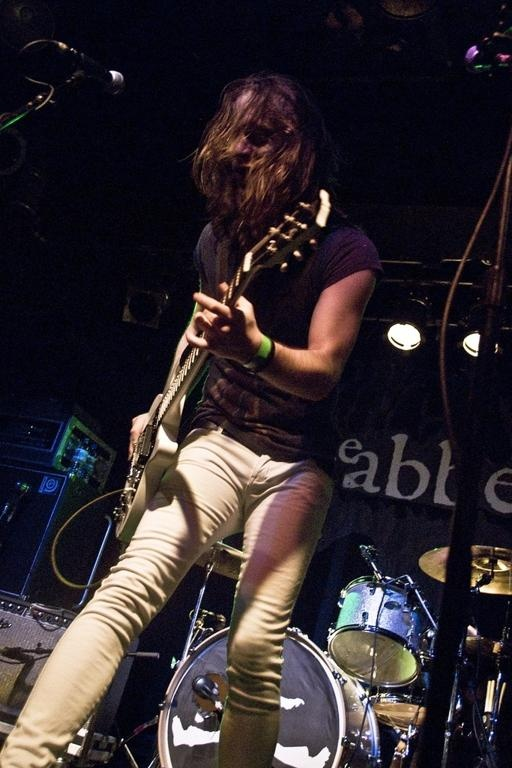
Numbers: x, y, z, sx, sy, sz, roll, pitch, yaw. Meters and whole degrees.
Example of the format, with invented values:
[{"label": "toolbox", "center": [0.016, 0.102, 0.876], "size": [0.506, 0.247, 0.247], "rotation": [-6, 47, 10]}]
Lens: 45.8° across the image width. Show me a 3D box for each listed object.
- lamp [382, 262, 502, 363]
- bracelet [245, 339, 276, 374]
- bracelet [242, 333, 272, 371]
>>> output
[{"label": "lamp", "center": [1.340, -0.553, 4.405], "size": [0.879, 0.653, 0.520], "rotation": [8, -14, 47]}, {"label": "bracelet", "center": [0.014, -0.063, 1.375], "size": [0.031, 0.077, 0.059], "rotation": [23, 8, -45]}, {"label": "bracelet", "center": [0.009, -0.065, 1.398], "size": [0.036, 0.085, 0.062], "rotation": [33, 25, -36]}]
